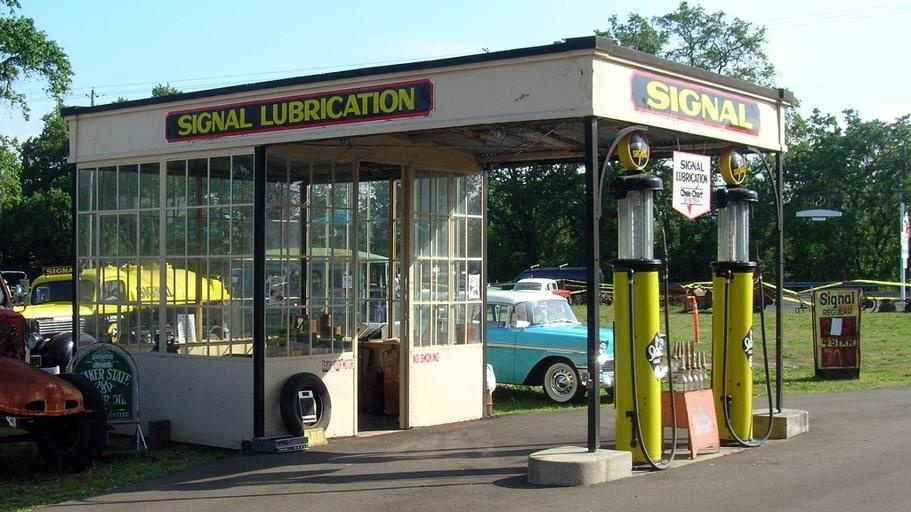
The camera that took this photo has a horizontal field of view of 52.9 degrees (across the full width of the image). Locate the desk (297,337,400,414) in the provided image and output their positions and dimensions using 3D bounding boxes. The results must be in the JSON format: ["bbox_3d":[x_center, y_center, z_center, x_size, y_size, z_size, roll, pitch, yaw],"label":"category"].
[{"bbox_3d":[-1.631,2.547,19.364,1.604,1.683,1.584,-5,-8,28],"label":"desk"}]
